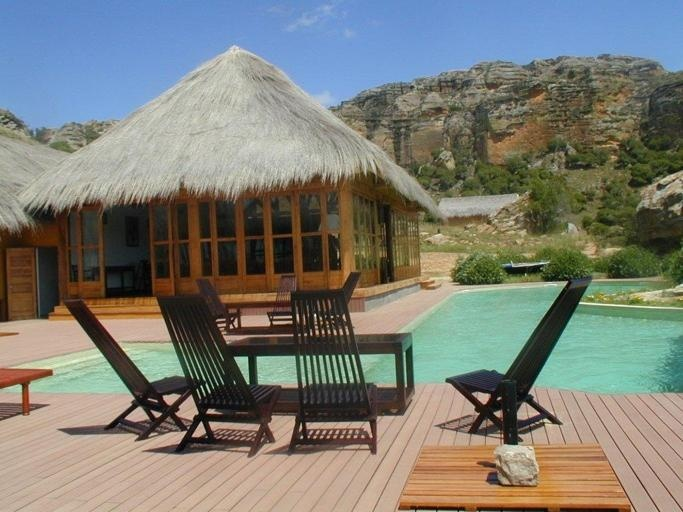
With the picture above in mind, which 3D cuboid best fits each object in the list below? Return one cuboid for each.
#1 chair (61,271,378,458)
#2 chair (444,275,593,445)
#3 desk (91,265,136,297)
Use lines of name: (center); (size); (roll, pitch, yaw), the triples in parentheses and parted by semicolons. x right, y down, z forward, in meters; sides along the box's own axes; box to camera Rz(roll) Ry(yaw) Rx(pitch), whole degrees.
chair: (-0.995, 0.939, 4.837); (2.516, 1.002, 1.152); (-2, 3, 23)
chair: (1.460, 0.808, 4.545); (1.042, 1.231, 0.930); (-7, 4, -42)
desk: (-6.578, 0.713, 16.014); (1.026, 0.944, 1.196); (0, 2, 3)
